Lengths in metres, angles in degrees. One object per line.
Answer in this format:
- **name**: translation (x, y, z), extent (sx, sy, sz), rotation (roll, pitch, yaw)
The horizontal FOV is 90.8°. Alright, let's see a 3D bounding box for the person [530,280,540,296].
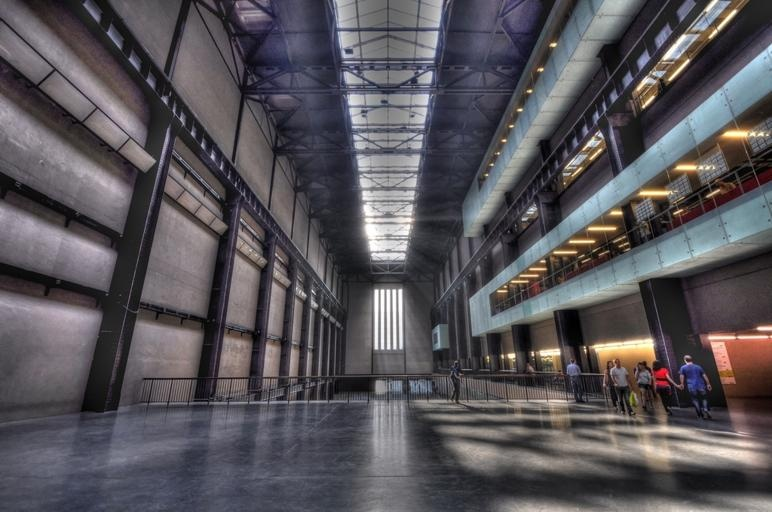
- **person**: translation (13.068, 2.822, 33.377), extent (0.363, 0.964, 1.058), rotation (6, -33, 4)
